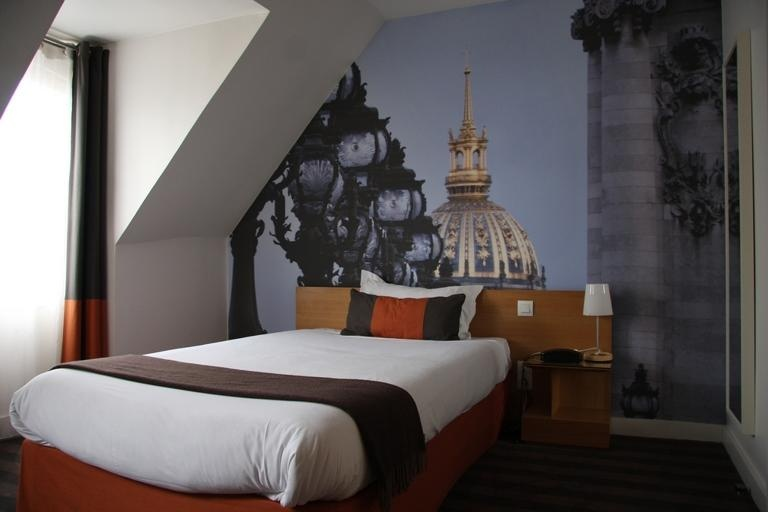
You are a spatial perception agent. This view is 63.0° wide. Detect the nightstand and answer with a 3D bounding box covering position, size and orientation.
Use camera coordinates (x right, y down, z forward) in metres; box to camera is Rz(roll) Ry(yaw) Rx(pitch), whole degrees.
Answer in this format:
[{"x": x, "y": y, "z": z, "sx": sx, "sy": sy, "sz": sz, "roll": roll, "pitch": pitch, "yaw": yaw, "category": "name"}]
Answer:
[{"x": 1.549, "y": 1.189, "z": 5.150, "sx": 0.747, "sy": 0.670, "sz": 0.615, "roll": 0, "pitch": -5, "yaw": 15, "category": "nightstand"}]
